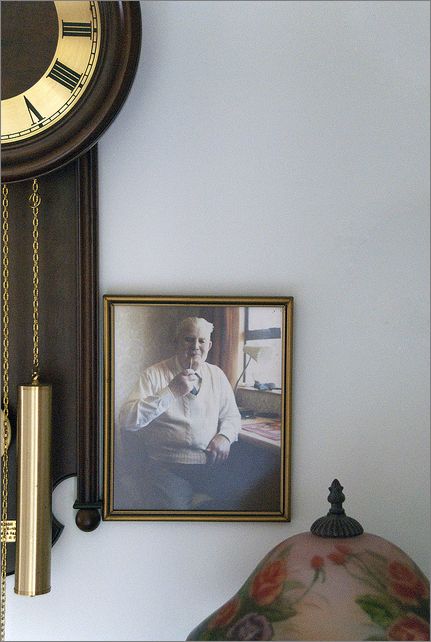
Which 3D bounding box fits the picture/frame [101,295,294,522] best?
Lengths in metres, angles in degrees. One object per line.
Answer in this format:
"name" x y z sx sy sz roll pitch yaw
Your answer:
"picture/frame" -0.045 0.162 1.390 0.395 0.484 0.028 1 1 1
